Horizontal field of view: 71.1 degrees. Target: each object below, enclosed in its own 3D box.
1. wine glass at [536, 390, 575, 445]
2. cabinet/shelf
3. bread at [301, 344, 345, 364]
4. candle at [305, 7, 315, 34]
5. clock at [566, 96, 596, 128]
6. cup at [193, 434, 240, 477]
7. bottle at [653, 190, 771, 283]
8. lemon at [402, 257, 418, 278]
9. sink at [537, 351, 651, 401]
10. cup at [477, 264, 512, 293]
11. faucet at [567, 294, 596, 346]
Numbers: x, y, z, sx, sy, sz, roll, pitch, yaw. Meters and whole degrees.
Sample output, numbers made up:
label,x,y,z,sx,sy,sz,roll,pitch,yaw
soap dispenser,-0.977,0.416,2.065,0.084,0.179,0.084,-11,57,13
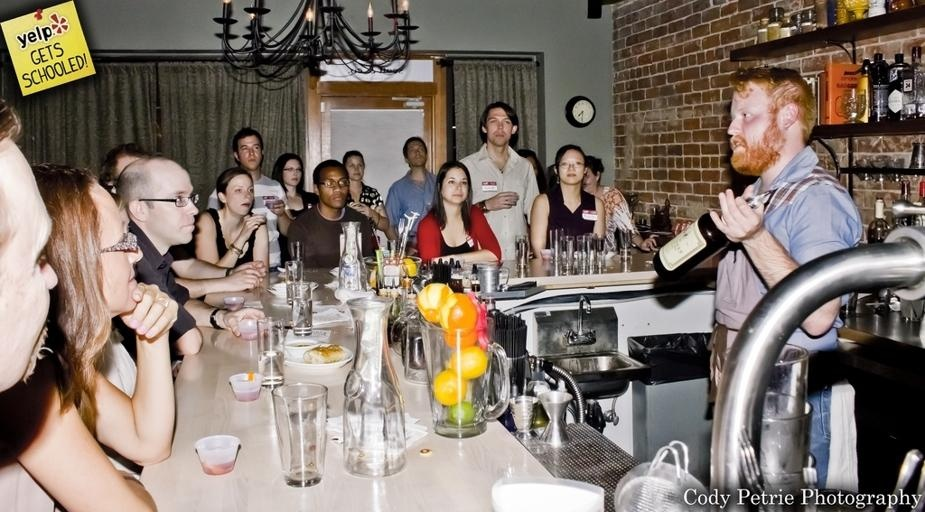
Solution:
label,x,y,z,sx,sy,sz,roll,pitch,yaw
wine glass,0.322,0.572,2.258,0.123,0.144,0.119,-2,-4,6
cabinet/shelf,1.408,-0.149,2.865,0.657,1.386,1.028,0,10,12
bread,-0.560,0.398,2.615,0.116,0.037,0.080,-2,6,-40
candle,-0.979,-1.499,4.121,0.052,0.145,0.219,-2,3,-15
clock,1.339,-1.611,7.307,0.342,0.336,0.078,-36,12,-8
cup,-0.777,0.623,2.031,0.121,0.072,0.118,0,0,0
bottle,1.102,-0.059,2.987,0.652,0.169,0.168,-34,33,-15
lemon,-0.292,0.070,3.618,0.099,0.108,0.096,-2,3,1
sink,0.712,0.646,3.477,0.461,0.153,0.299,-3,11,-18
cup,0.178,0.133,3.859,0.207,0.140,0.128,-2,11,-6
faucet,0.745,0.397,3.937,0.205,0.314,0.189,-2,4,-20
